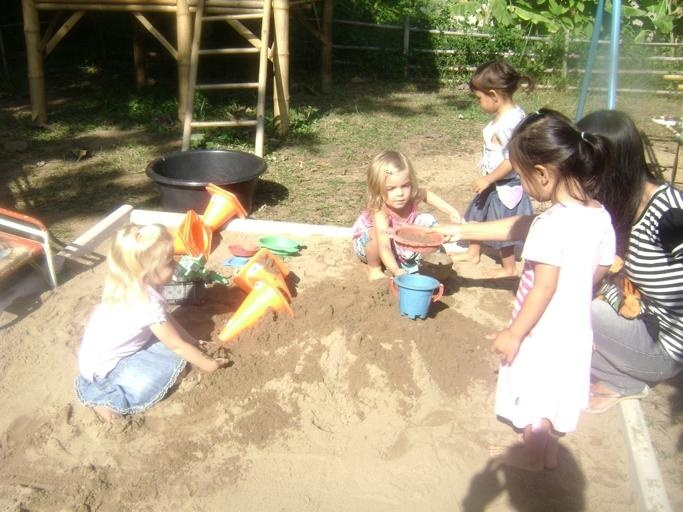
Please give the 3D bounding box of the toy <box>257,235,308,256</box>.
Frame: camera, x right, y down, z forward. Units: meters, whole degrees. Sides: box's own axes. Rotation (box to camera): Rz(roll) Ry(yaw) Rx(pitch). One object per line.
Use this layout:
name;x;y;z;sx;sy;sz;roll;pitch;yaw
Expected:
toy;-0.450;-0.076;4.571;0.221;0.048;0.164;15;19;39

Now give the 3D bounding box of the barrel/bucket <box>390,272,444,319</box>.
barrel/bucket;0.449;0.258;3.785;0.342;0.230;0.297;3;5;18

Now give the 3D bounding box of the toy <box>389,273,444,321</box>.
toy;0.461;0.262;3.767;0.306;0.211;0.259;5;11;29

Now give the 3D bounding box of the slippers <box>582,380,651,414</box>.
slippers;1.448;0.761;3.317;0.244;0.077;0.227;-9;45;10

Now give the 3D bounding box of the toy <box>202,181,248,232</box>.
toy;-0.938;-0.382;4.908;0.248;0.268;0.280;12;53;36

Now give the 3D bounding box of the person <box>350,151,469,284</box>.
person;0.357;-0.260;4.074;0.694;0.761;0.593;-30;40;-31

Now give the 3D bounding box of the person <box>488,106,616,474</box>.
person;0.970;0.208;2.935;0.510;1.700;0.489;9;20;21
